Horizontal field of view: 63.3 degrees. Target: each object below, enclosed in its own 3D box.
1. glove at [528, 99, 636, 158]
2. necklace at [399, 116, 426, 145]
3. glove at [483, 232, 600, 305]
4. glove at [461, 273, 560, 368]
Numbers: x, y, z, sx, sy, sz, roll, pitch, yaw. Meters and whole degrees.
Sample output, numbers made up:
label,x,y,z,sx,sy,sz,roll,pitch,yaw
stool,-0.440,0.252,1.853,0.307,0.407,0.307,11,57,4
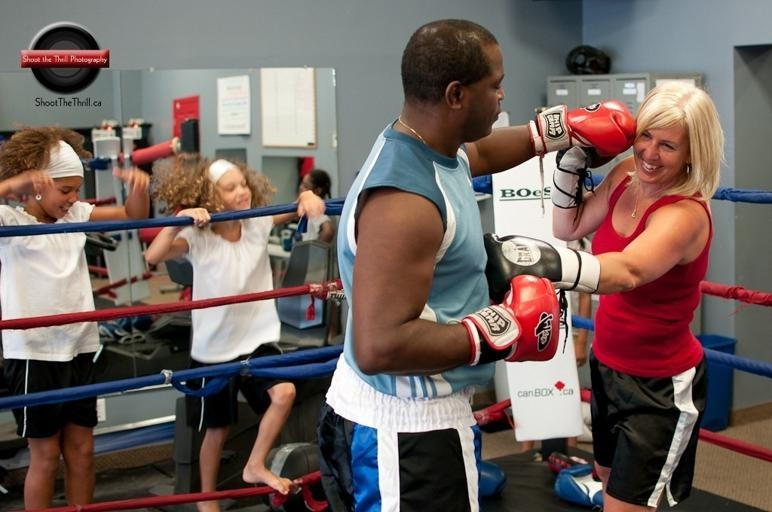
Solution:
label,x,y,z,sx,sy,sz,roll,pitch,yaw
glove,0.716,-0.474,2.326,0.416,0.149,0.244,5,41,24
necklace,0.086,-0.353,1.822,0.090,0.025,0.065,30,-4,-27
glove,0.517,0.053,2.014,0.414,0.172,0.306,-1,6,5
glove,0.347,0.168,1.797,0.337,0.227,0.133,-18,-9,-31
